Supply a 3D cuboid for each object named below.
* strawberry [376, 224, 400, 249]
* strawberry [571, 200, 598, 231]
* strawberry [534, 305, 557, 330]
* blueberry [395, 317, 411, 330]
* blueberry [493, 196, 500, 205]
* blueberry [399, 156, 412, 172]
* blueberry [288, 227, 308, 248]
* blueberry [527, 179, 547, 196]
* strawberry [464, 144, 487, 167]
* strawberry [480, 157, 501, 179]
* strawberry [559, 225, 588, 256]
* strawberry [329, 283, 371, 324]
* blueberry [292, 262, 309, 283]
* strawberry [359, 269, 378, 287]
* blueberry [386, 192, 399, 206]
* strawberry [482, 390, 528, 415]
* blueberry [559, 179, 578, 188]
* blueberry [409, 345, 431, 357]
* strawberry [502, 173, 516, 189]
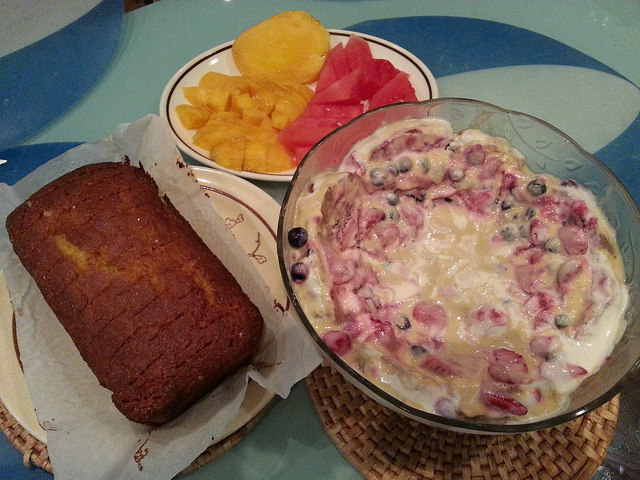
[{"bbox_3d":[0.245,-0.012,2.190,0.079,0.020,0.076,-21,78,-4],"label":"strawberry"},{"bbox_3d":[0.915,-0.080,2.138,0.065,0.037,0.106,-23,80,11],"label":"strawberry"},{"bbox_3d":[0.749,0.258,2.058,0.096,0.020,0.049,-24,78,-5],"label":"strawberry"},{"bbox_3d":[0.279,0.284,2.049,0.046,0.015,0.042,-29,79,-6],"label":"blueberry"},{"bbox_3d":[0.629,-0.136,2.197,0.018,0.010,0.024,1,110,18],"label":"blueberry"},{"bbox_3d":[0.309,-0.270,2.228,0.046,0.025,0.045,-3,81,11],"label":"blueberry"},{"bbox_3d":[-0.077,-0.006,2.100,0.062,0.036,0.062,0,84,5],"label":"blueberry"},{"bbox_3d":[0.762,-0.180,2.174,0.061,0.022,0.059,-38,80,-8],"label":"blueberry"},{"bbox_3d":[0.559,-0.299,2.225,0.079,0.039,0.061,-42,95,8],"label":"strawberry"},{"bbox_3d":[0.610,-0.255,2.230,0.054,0.022,0.081,41,91,2],"label":"strawberry"},{"bbox_3d":[0.870,0.006,2.120,0.085,0.031,0.106,-4,77,-1],"label":"strawberry"},{"bbox_3d":[0.093,0.208,2.051,0.117,0.034,0.130,-19,78,-4],"label":"strawberry"},{"bbox_3d":[-0.068,0.112,2.059,0.057,0.034,0.057,-45,77,12],"label":"blueberry"},{"bbox_3d":[0.173,0.138,2.121,0.053,0.019,0.065,23,78,5],"label":"strawberry"},{"bbox_3d":[0.262,-0.145,2.234,0.049,0.015,0.042,43,81,9],"label":"blueberry"},{"bbox_3d":[0.570,0.504,1.911,0.121,0.036,0.064,18,75,10],"label":"strawberry"},{"bbox_3d":[0.880,-0.198,2.191,0.063,0.021,0.035,10,77,2],"label":"blueberry"},{"bbox_3d":[0.321,0.363,1.998,0.065,0.011,0.032,29,79,6],"label":"blueberry"},{"bbox_3d":[0.675,-0.207,2.210,0.042,0.024,0.049,-26,78,-5],"label":"strawberry"}]
